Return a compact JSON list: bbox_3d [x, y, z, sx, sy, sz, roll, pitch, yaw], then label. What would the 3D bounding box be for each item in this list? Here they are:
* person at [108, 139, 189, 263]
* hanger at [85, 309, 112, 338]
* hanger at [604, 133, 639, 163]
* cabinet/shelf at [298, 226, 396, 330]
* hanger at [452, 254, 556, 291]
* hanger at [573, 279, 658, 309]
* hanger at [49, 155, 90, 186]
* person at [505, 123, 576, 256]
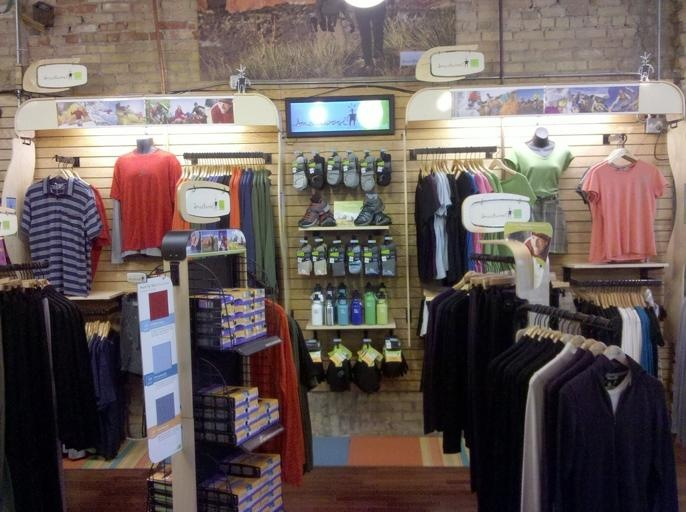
[{"bbox_3d":[-1.928,-0.561,7.216,0.729,1.213,0.216,-1,3,17],"label":"person"},{"bbox_3d":[-2.378,0.661,7.189,0.205,0.281,0.110,4,-10,-15],"label":"hanger"},{"bbox_3d":[2.679,-1.063,7.159,0.308,0.304,0.055,0,-1,-2],"label":"hanger"},{"bbox_3d":[0.030,0.105,7.506,1.104,1.174,0.856,0,-1,2],"label":"cabinet/shelf"},{"bbox_3d":[1.164,0.126,5.513,0.377,0.191,0.385,-3,5,-24],"label":"hanger"},{"bbox_3d":[2.689,0.355,7.159,0.948,0.281,0.359,-3,3,-7],"label":"hanger"},{"bbox_3d":[-2.718,-0.868,7.298,0.312,0.285,0.063,0,0,-7],"label":"hanger"},{"bbox_3d":[1.902,-0.633,7.180,0.623,1.254,0.234,-3,3,-11],"label":"person"}]
